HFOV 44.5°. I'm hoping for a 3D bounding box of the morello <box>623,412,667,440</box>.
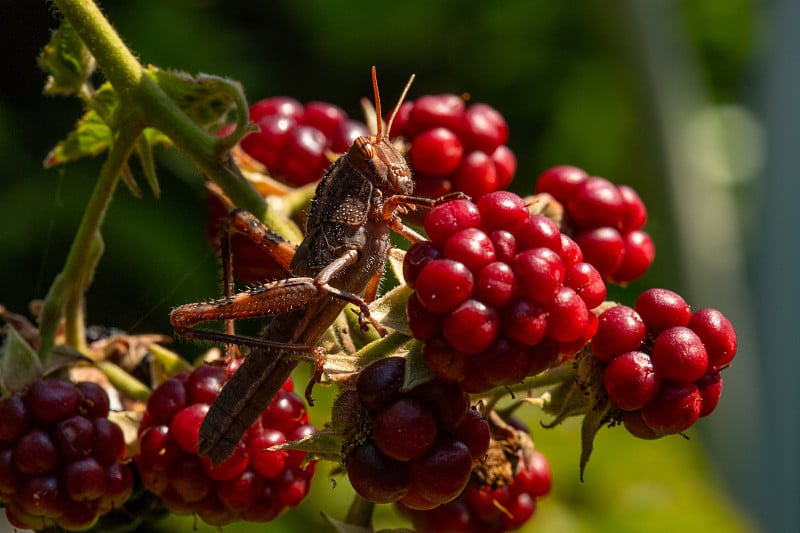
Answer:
[{"bbox_3d":[0.763,0.487,3.104,0.080,0.061,0.101,22,-3,-8],"label":"morello"}]
